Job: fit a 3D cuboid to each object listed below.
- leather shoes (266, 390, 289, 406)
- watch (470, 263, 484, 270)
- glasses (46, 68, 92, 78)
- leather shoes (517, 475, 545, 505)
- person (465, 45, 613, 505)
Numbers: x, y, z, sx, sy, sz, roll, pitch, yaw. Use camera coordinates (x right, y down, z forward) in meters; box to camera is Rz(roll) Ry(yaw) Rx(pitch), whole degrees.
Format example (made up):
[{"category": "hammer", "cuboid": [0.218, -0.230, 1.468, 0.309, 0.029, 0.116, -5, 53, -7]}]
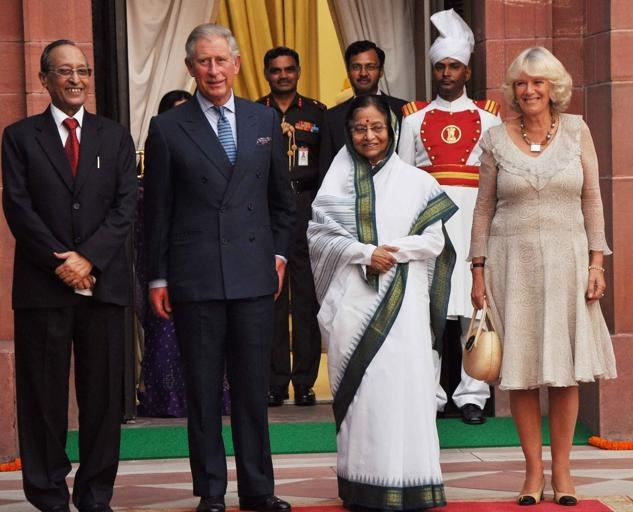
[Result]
[{"category": "leather shoes", "cuboid": [-0.277, 0.998, 6.313, 0.069, 0.092, 0.212, -1, -10, 10]}, {"category": "watch", "cuboid": [0.798, 0.052, 4.499, 0.049, 0.031, 0.051, -2, -8, 0]}, {"category": "glasses", "cuboid": [-1.124, -0.833, 4.140, 0.190, 0.047, 0.094, -2, 4, -21]}, {"category": "leather shoes", "cuboid": [1.014, 1.121, 4.275, 0.060, 0.084, 0.185, -7, -13, 32]}, {"category": "person", "cuboid": [1.065, -0.183, 4.310, 0.688, 1.595, 0.351, 1, 4, 18]}]
